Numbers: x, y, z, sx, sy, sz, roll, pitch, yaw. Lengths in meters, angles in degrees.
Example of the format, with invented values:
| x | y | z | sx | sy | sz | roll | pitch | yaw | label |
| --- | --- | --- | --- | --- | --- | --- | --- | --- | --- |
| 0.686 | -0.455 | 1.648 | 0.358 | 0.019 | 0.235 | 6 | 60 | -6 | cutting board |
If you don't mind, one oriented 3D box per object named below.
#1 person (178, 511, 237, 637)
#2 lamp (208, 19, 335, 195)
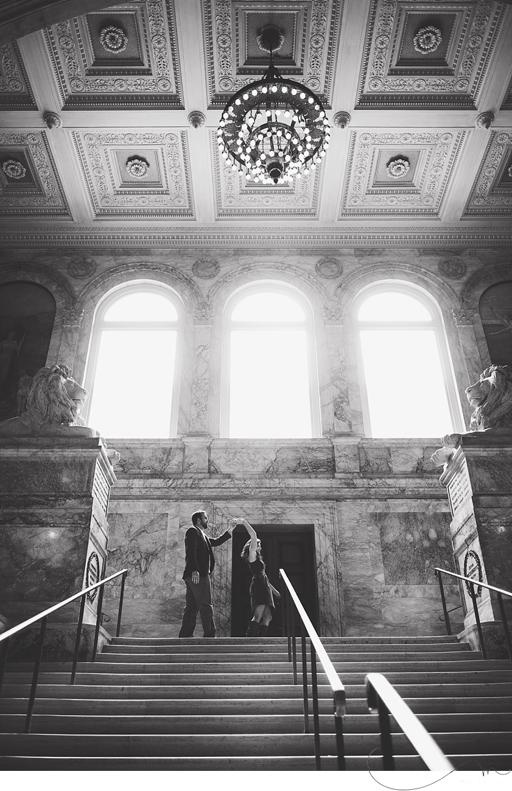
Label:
| x | y | z | sx | sy | sz | roll | pitch | yaw | label |
| --- | --- | --- | --- | --- | --- | --- | --- | --- | --- |
| -0.640 | 2.331 | 6.119 | 0.597 | 1.570 | 1.586 | 0 | -19 | -6 | person |
| 0.304 | -5.213 | 8.460 | 1.441 | 2.719 | 1.436 | -3 | -3 | 42 | lamp |
